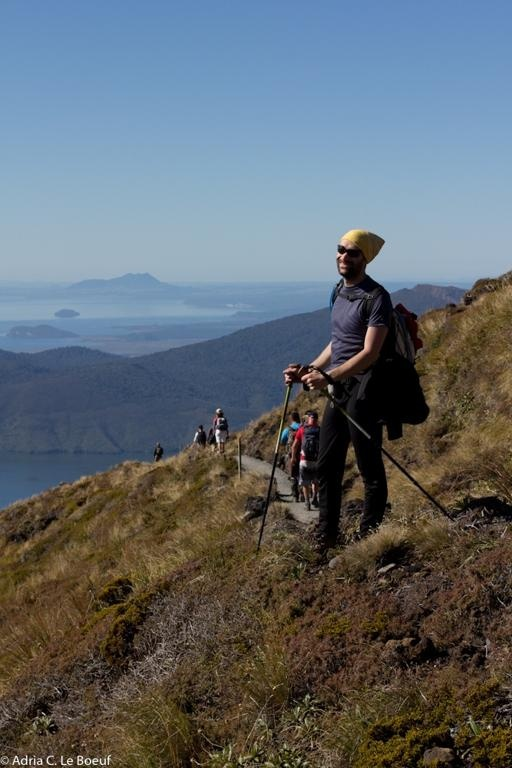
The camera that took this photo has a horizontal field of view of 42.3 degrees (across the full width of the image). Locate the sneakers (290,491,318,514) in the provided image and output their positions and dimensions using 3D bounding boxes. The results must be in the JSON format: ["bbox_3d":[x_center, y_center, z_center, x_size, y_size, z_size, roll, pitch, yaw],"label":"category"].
[{"bbox_3d":[0.815,1.992,11.050,0.158,0.260,0.516,0,-7,-16],"label":"sneakers"}]

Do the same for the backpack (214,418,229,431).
[{"bbox_3d":[-1.312,1.580,25.282,0.427,0.595,0.576,0,13,-1],"label":"backpack"}]

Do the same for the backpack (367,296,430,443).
[{"bbox_3d":[1.040,-0.098,4.980,0.444,0.941,0.417,1,7,1],"label":"backpack"}]
